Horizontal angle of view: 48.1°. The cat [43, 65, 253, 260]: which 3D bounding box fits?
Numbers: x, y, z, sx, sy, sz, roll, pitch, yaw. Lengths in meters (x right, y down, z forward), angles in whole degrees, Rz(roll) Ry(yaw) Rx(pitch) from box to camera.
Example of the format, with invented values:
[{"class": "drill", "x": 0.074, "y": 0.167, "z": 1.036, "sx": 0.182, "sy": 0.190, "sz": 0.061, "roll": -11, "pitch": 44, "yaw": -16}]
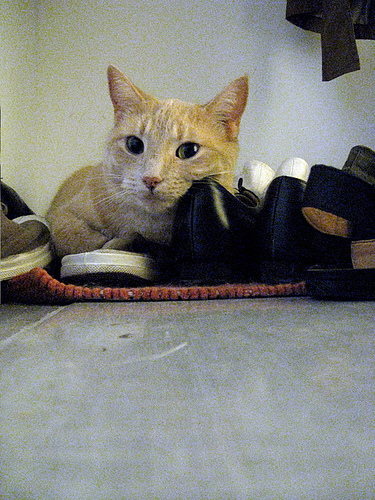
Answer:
[{"class": "cat", "x": -0.015, "y": -0.147, "z": 0.974, "sx": 0.421, "sy": 0.540, "sz": 0.346, "roll": 9, "pitch": 94, "yaw": 4}]
